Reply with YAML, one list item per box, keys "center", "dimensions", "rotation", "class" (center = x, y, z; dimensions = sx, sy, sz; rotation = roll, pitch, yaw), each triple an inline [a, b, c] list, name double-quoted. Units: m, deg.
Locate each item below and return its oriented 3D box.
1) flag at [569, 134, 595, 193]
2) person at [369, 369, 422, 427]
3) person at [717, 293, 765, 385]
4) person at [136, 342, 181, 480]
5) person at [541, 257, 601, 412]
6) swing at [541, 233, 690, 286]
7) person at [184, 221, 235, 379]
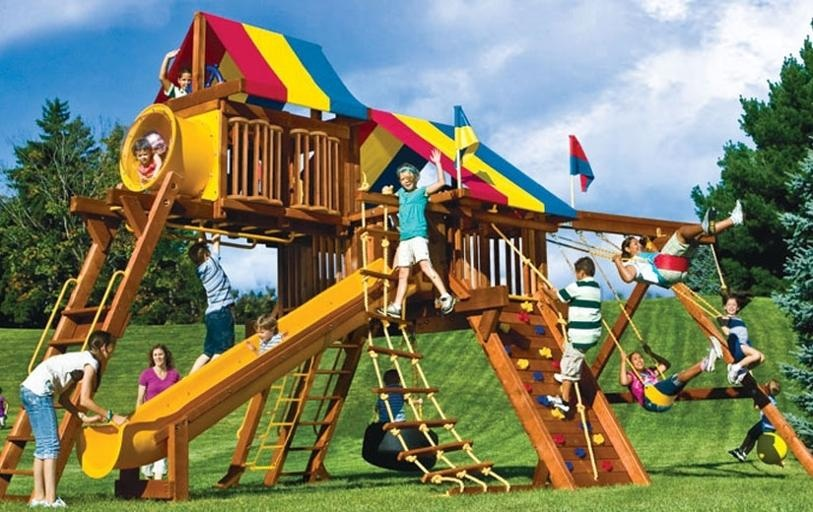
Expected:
- center: [4.565, -2.473, 28.130]
  dimensions: [0.630, 0.238, 1.772]
  rotation: [-4, -56, 16]
  class: "flag"
- center: [-0.469, 3.552, 25.805]
  dimensions: [0.925, 1.673, 1.225]
  rotation: [-2, 1, -41]
  class: "person"
- center: [8.035, 1.968, 25.637]
  dimensions: [0.800, 2.210, 1.560]
  rotation: [-17, -28, 37]
  class: "person"
- center: [-5.624, 3.611, 24.436]
  dimensions: [0.840, 3.156, 0.906]
  rotation: [-1, -3, -1]
  class: "person"
- center: [3.675, 1.975, 23.994]
  dimensions: [1.225, 3.777, 1.101]
  rotation: [1, 0, 12]
  class: "person"
- center: [4.605, 0.120, 21.955]
  dimensions: [3.094, 1.172, 1.234]
  rotation: [3, 0, 38]
  class: "swing"
- center: [-4.555, 1.209, 24.899]
  dimensions: [0.994, 3.961, 1.237]
  rotation: [-12, -14, 24]
  class: "person"
